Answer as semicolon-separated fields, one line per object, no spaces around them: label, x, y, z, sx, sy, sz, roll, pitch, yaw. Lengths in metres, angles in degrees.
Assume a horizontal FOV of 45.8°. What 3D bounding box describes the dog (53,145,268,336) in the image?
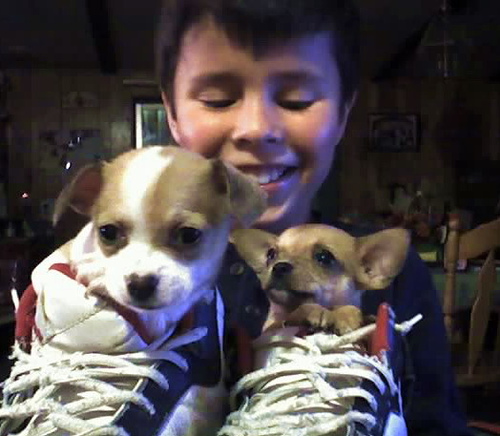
dog;-0.168;0.008;1.191;0.345;0.230;0.350;4;33;2
